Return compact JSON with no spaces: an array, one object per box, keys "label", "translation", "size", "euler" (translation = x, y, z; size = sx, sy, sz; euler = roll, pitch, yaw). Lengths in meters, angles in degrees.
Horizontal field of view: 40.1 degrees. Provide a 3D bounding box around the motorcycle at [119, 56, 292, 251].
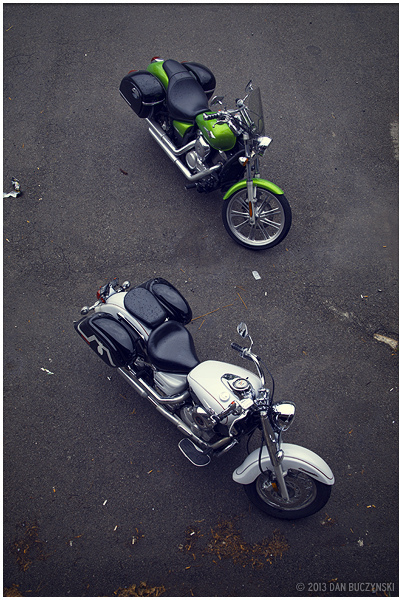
[{"label":"motorcycle","translation":[0.173,-1.443,5.698],"size":[0.752,1.971,1.746],"euler":[-28,31,-23]}]
